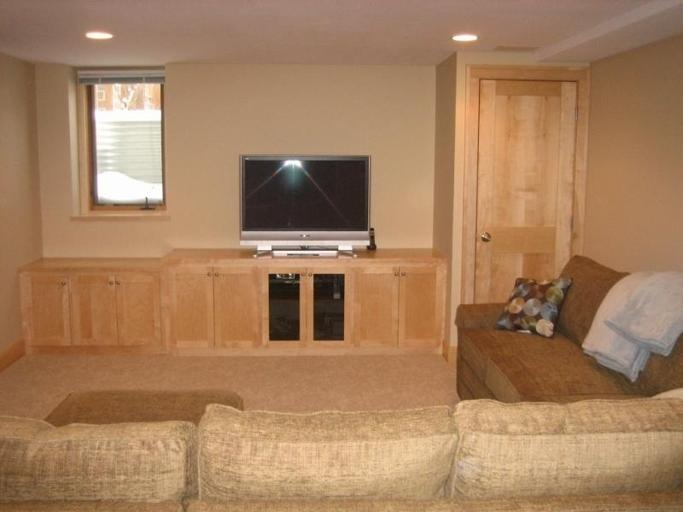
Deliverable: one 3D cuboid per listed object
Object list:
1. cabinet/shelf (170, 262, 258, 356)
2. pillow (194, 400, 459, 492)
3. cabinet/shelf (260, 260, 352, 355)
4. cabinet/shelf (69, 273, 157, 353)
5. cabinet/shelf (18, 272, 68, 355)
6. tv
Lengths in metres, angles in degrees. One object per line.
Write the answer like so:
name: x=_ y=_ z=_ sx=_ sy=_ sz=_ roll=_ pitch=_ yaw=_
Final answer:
cabinet/shelf: x=-1.114 y=0.427 z=5.224 sx=0.781 sy=0.660 sz=0.297 roll=0 pitch=3 yaw=-2
pillow: x=-0.043 y=0.632 z=1.910 sx=0.821 sy=0.295 sz=0.118 roll=0 pitch=-3 yaw=-2
cabinet/shelf: x=-0.293 y=0.438 z=5.199 sx=0.788 sy=0.715 sz=0.285 roll=0 pitch=5 yaw=-2
cabinet/shelf: x=-1.965 y=0.468 z=5.357 sx=0.796 sy=0.670 sz=0.293 roll=-2 pitch=-1 yaw=-2
cabinet/shelf: x=-2.620 y=0.446 z=5.393 sx=0.480 sy=0.697 sz=0.463 roll=-6 pitch=20 yaw=-37
tv: x=-0.342 y=-0.446 z=5.427 sx=1.221 sy=0.878 sz=0.334 roll=-2 pitch=10 yaw=-18
